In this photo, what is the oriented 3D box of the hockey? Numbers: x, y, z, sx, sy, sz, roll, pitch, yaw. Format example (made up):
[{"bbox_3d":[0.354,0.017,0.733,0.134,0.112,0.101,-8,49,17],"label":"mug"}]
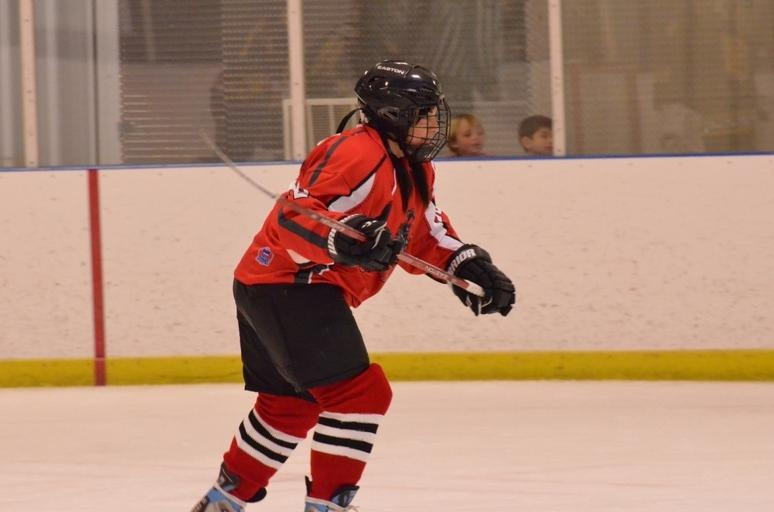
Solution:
[{"bbox_3d":[-0.256,-0.198,7.243,2.335,0.100,0.365,25,-4,-19],"label":"hockey"}]

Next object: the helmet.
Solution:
[{"bbox_3d":[0.065,-0.902,6.804,0.595,0.315,0.334,0,38,-1],"label":"helmet"}]
